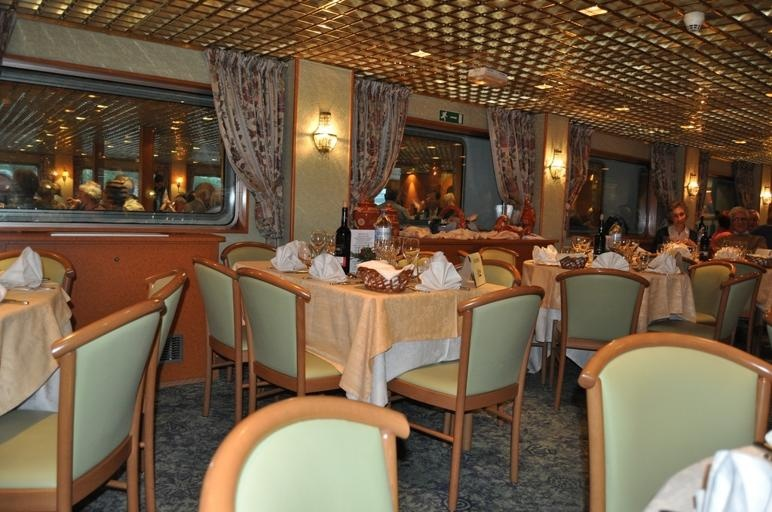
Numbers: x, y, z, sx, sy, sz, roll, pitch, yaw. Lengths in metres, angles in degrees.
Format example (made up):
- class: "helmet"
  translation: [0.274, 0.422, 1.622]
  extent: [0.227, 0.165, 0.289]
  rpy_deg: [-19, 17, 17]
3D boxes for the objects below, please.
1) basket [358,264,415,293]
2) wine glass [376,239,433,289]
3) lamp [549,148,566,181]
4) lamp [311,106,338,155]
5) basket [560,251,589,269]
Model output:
- class: "basket"
  translation: [-0.028, 0.101, 3.150]
  extent: [0.189, 0.100, 0.216]
  rpy_deg: [-4, 10, -37]
- class: "wine glass"
  translation: [0.131, 0.019, 3.458]
  extent: [0.366, 0.369, 0.237]
  rpy_deg: [3, 7, 28]
- class: "lamp"
  translation: [2.727, -1.463, 8.535]
  extent: [0.343, 0.511, 0.145]
  rpy_deg: [-7, 15, -36]
- class: "lamp"
  translation: [-0.682, -1.434, 6.184]
  extent: [0.322, 0.507, 0.167]
  rpy_deg: [-4, 14, -27]
- class: "basket"
  translation: [1.603, 0.042, 4.659]
  extent: [0.198, 0.113, 0.229]
  rpy_deg: [0, -1, -7]
